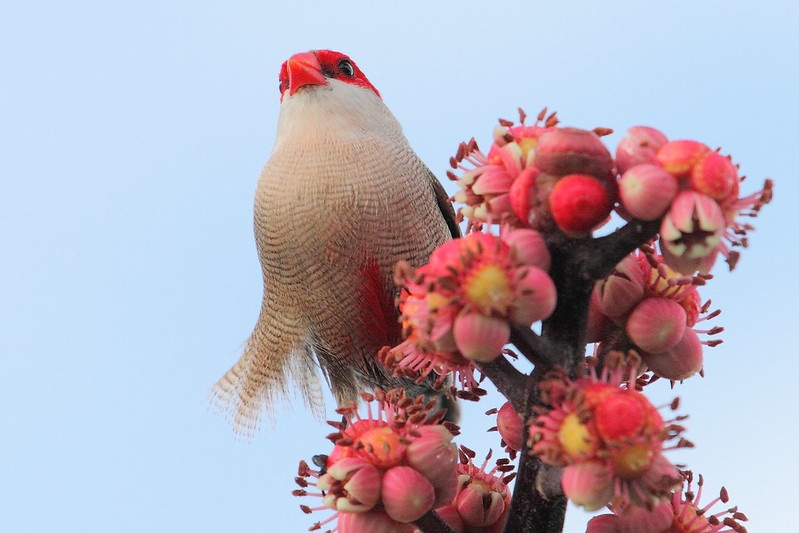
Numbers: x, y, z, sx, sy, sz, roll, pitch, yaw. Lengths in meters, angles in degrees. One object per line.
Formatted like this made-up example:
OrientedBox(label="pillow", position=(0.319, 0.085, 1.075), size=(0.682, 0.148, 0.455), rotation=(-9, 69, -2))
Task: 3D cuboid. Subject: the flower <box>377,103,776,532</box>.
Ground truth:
OrientedBox(label="flower", position=(0.443, 0.205, 3.560), size=(0.802, 1.225, 0.825), rotation=(8, -12, -39))
